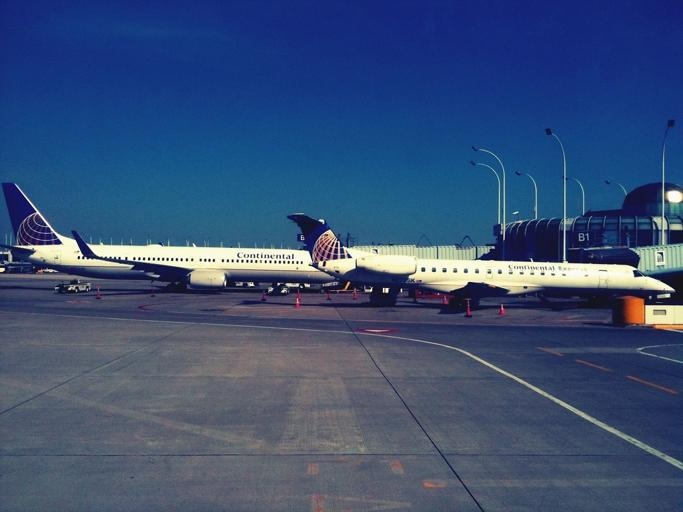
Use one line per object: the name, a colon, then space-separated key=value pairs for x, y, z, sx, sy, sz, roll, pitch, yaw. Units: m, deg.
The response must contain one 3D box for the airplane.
airplane: x=-2.604 y=-0.944 z=56.595 sx=41.045 sy=7.097 sz=9.666 roll=-1 pitch=0 yaw=14
